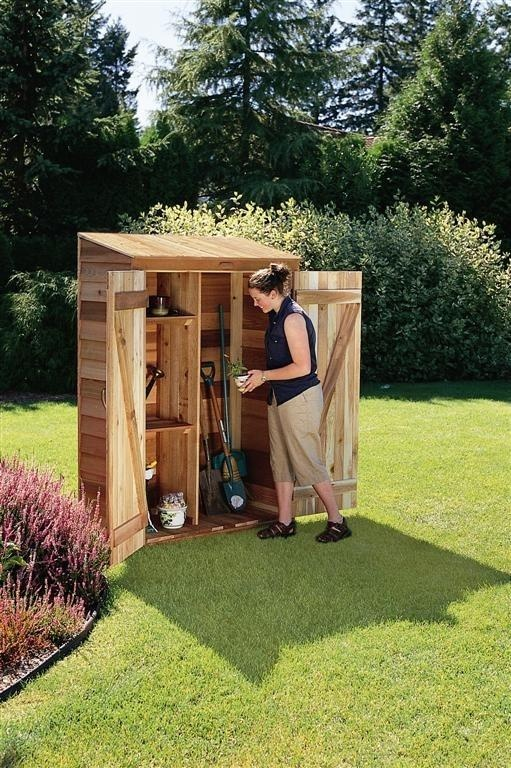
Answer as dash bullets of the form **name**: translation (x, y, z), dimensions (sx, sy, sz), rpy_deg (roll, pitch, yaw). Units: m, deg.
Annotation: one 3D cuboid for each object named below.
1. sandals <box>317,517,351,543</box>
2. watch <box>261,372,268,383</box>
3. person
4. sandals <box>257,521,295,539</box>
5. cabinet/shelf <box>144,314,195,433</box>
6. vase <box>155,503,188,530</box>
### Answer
- **sandals**: translation (0.546, 1.007, 4.813), dimensions (0.106, 0.120, 0.274), rpy_deg (-1, 5, 43)
- **watch**: translation (0.057, -0.048, 4.490), dimensions (0.025, 0.054, 0.048), rpy_deg (1, -17, 10)
- **person**: translation (0.252, 0.149, 4.649), dimensions (0.736, 1.865, 0.518), rpy_deg (-2, 7, -44)
- **sandals**: translation (0.154, 1.026, 4.859), dimensions (0.268, 0.104, 0.105), rpy_deg (2, 4, -20)
- **cabinet/shelf**: translation (-0.620, -0.105, 5.059), dimensions (0.201, 0.786, 0.731), rpy_deg (1, 5, -22)
- **vase**: translation (-0.589, 0.930, 4.887), dimensions (0.164, 0.123, 0.167), rpy_deg (-1, 3, 3)
